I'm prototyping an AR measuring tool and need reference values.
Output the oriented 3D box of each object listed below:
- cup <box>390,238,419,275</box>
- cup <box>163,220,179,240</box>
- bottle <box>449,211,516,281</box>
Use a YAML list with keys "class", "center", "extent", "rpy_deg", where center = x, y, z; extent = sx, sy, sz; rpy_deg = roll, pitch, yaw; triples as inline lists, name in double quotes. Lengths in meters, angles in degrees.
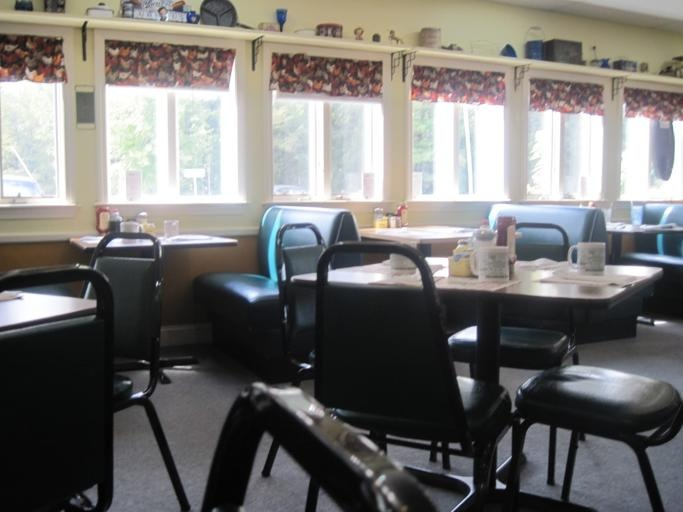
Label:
- class: "cup"
  center: [0.273, 0.027, 2.495]
  extent: [0.112, 0.071, 0.126]
  rpy_deg: [-10, 15, -43]
- class: "cup"
  center: [-1.348, -0.209, 4.628]
  extent: [0.130, 0.136, 0.101]
  rpy_deg: [-2, 9, -8]
- class: "bottle"
  center: [0.603, -0.039, 2.470]
  extent: [0.313, 0.328, 0.206]
  rpy_deg: [-5, 8, -16]
